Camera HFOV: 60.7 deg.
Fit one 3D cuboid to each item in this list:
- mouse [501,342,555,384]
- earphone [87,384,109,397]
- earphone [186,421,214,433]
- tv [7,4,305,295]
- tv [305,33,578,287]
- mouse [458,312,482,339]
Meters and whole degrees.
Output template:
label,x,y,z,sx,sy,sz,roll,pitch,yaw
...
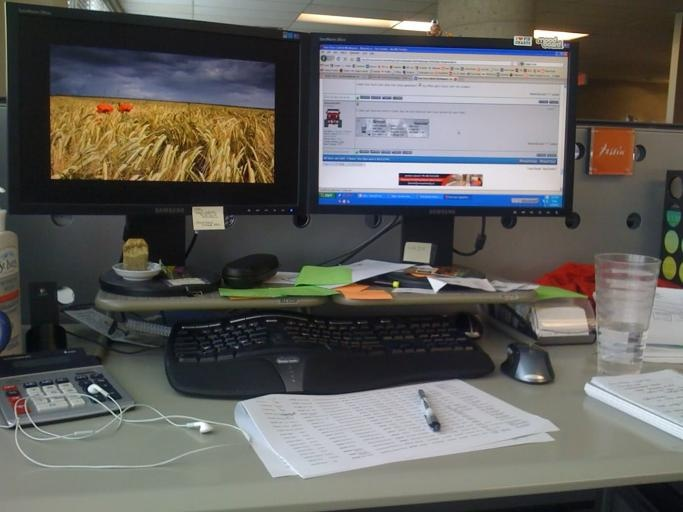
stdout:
label,x,y,z,sx,sy,sz,roll,pitch,yaw
mouse,0.359,0.196,1.100,0.096,0.044,0.134,1,15,12
earphone,-0.389,0.216,0.933,0.034,0.013,0.017,16,12,19
earphone,-0.210,0.256,0.870,0.028,0.009,0.021,2,-6,30
tv,-0.395,-0.212,1.190,0.716,0.584,0.205,0,1,-15
tv,0.204,-0.226,1.298,0.676,0.545,0.130,0,2,-5
mouse,0.280,0.152,1.254,0.036,0.020,0.060,-1,30,-3
